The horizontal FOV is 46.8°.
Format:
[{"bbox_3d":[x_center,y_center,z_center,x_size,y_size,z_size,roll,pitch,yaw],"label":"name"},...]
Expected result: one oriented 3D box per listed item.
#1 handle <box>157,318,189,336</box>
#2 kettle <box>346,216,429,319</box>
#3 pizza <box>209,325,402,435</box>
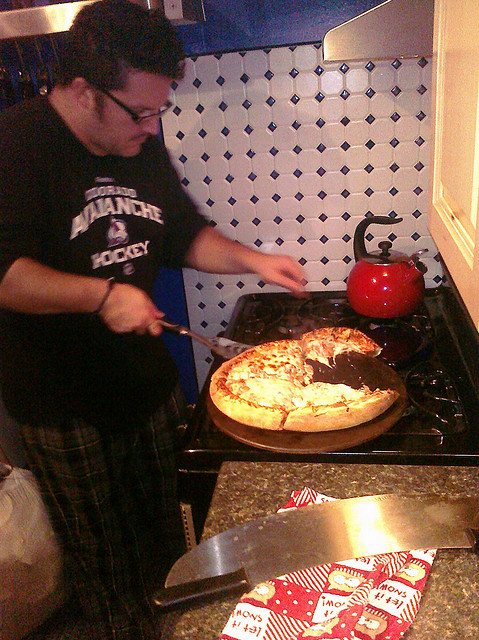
[{"bbox_3d":[-0.181,0.017,1.469,0.094,0.020,0.025,23,-17,-5],"label":"handle"},{"bbox_3d":[0.404,-0.148,1.450,0.212,0.240,0.243,-25,29,-29],"label":"kettle"},{"bbox_3d":[0.136,0.105,1.154,0.374,0.071,0.405,2,24,6],"label":"pizza"}]
